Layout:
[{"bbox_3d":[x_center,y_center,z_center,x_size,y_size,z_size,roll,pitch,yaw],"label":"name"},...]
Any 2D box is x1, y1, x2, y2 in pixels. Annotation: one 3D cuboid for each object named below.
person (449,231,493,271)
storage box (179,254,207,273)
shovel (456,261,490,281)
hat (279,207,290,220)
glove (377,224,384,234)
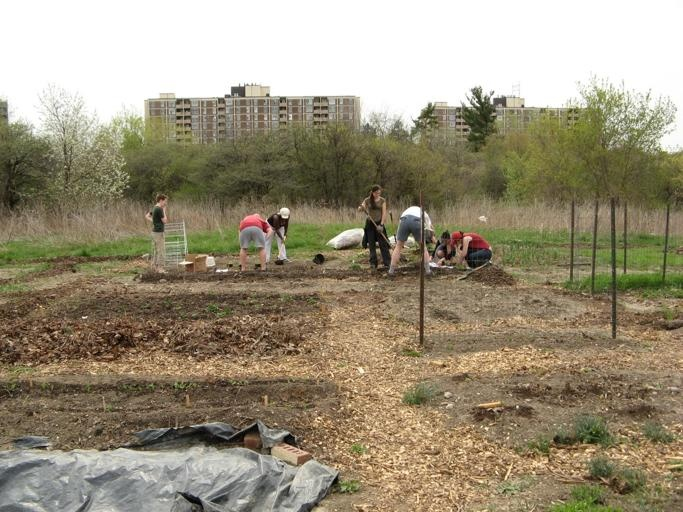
[{"bbox_3d":[3.015,-0.087,21.880,0.971,1.165,0.778,0,-5,30],"label":"person"},{"bbox_3d":[-3.625,0.191,22.173,0.642,0.388,1.064,-1,12,-9],"label":"storage box"},{"bbox_3d":[2.916,0.363,20.469,0.471,0.134,0.143,-35,14,5],"label":"shovel"},{"bbox_3d":[-1.437,-1.043,22.229,0.245,0.184,0.340,2,32,-25],"label":"hat"},{"bbox_3d":[0.839,-0.620,21.104,0.147,0.222,0.061,-5,-2,5],"label":"glove"}]
